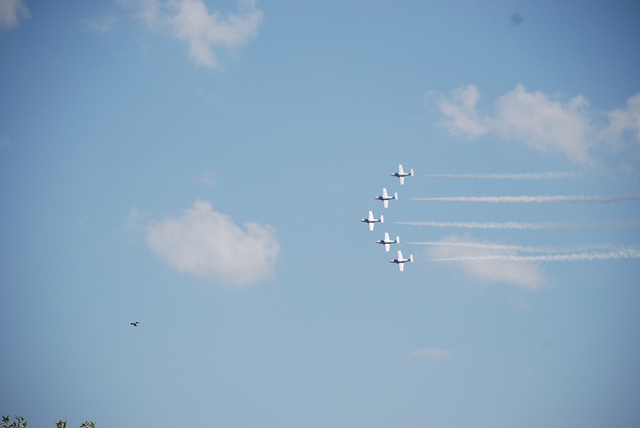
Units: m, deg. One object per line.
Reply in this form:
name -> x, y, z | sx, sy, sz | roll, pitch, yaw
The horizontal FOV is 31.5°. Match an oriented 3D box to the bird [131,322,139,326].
bird -> -21.186, 12.670, 130.571 | 0.884, 0.195, 0.344 | -9, -72, -2
